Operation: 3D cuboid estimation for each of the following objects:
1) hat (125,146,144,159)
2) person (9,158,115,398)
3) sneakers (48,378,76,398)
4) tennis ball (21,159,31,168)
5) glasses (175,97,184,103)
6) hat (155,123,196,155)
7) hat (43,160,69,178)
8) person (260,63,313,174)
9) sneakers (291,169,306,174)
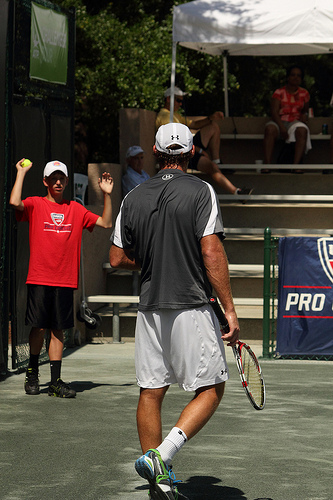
[{"bbox_3d":[-0.526,-1.578,10.838,0.243,0.200,0.413,-11,-1,-15],"label":"hat"},{"bbox_3d":[-0.957,0.236,5.671,0.675,2.047,0.433,0,-1,-7],"label":"person"},{"bbox_3d":[-0.895,1.187,5.731,0.112,0.141,0.258,0,-3,-43],"label":"sneakers"},{"bbox_3d":[-1.195,-0.746,5.689,0.077,0.088,0.102,-7,13,-13],"label":"tennis ball"},{"bbox_3d":[0.224,-2.668,11.828,0.125,0.102,0.380,0,-1,5],"label":"glasses"},{"bbox_3d":[0.032,-0.508,3.055,0.173,0.145,0.300,0,9,-1],"label":"hat"},{"bbox_3d":[-0.935,-0.687,5.632,0.184,0.151,0.252,0,-1,-14],"label":"hat"},{"bbox_3d":[2.325,-2.576,12.838,0.855,1.933,0.845,0,-1,13],"label":"person"},{"bbox_3d":[2.406,-1.450,12.379,0.086,0.102,0.222,2,0,-25],"label":"sneakers"}]
